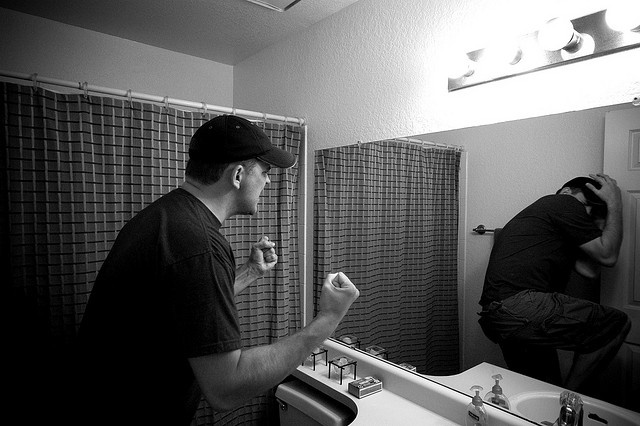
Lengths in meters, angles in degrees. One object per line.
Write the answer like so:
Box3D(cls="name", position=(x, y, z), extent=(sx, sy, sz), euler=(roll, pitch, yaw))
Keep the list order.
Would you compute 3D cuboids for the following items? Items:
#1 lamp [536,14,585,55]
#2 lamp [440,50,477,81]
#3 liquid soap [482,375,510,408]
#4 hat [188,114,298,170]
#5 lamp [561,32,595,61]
Box3D(cls="lamp", position=(1.018, -0.760, 2.132), extent=(0.151, 0.149, 0.153), euler=(13, 8, 33))
Box3D(cls="lamp", position=(0.668, -0.710, 2.403), extent=(0.104, 0.138, 0.102), euler=(4, 14, 23))
Box3D(cls="liquid soap", position=(0.807, 0.819, 2.290), extent=(0.120, 0.166, 0.065), euler=(10, 0, 7))
Box3D(cls="hat", position=(-0.310, -0.286, 1.990), extent=(0.315, 0.144, 0.199), euler=(-2, 12, -26))
Box3D(cls="lamp", position=(1.111, -0.709, 2.156), extent=(0.103, 0.102, 0.101), euler=(8, 19, -38))
